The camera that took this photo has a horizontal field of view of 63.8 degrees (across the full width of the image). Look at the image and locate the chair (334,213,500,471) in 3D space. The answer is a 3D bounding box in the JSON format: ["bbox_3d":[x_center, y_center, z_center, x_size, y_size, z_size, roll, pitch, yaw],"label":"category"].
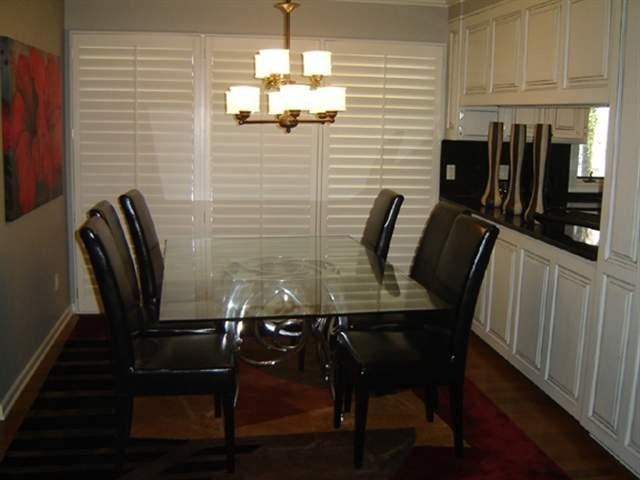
[{"bbox_3d":[0.428,0.445,2.551,0.677,1.133,0.506,-1,13,-8],"label":"chair"}]
